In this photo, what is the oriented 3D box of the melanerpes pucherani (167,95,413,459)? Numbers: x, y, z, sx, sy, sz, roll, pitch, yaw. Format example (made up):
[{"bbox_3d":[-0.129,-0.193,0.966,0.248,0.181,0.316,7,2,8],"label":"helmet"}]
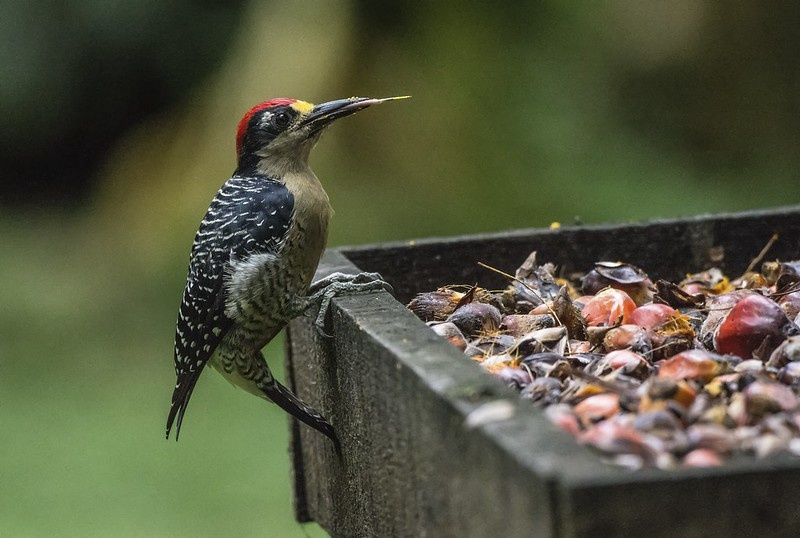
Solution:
[{"bbox_3d":[-0.413,-0.019,3.086,0.710,1.041,0.686,0,22,7],"label":"melanerpes pucherani"}]
